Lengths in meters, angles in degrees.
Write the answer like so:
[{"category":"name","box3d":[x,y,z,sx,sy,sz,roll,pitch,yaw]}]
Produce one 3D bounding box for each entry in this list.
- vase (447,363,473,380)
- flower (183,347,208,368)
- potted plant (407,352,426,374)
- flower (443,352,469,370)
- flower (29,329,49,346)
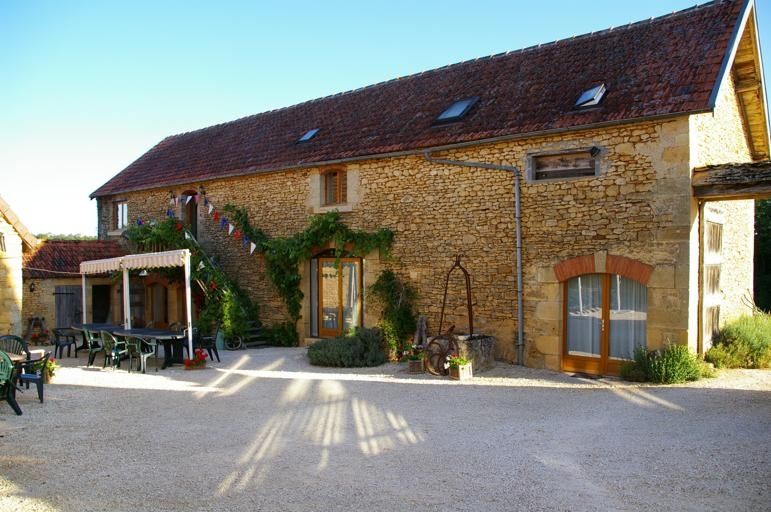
[{"category":"vase","box3d":[1.682,2.554,13.933,0.355,0.269,0.362,0,-2,34]},{"category":"flower","box3d":[-4.545,2.446,15.108,0.444,0.310,0.447,2,1,34]},{"category":"potted plant","box3d":[0.722,2.510,14.754,0.436,0.484,0.399,0,-7,2]},{"category":"flower","box3d":[1.605,2.300,14.050,0.407,0.228,0.374,0,0,39]},{"category":"flower","box3d":[-10.368,2.455,18.897,0.294,0.538,0.445,-6,-7,36]}]
